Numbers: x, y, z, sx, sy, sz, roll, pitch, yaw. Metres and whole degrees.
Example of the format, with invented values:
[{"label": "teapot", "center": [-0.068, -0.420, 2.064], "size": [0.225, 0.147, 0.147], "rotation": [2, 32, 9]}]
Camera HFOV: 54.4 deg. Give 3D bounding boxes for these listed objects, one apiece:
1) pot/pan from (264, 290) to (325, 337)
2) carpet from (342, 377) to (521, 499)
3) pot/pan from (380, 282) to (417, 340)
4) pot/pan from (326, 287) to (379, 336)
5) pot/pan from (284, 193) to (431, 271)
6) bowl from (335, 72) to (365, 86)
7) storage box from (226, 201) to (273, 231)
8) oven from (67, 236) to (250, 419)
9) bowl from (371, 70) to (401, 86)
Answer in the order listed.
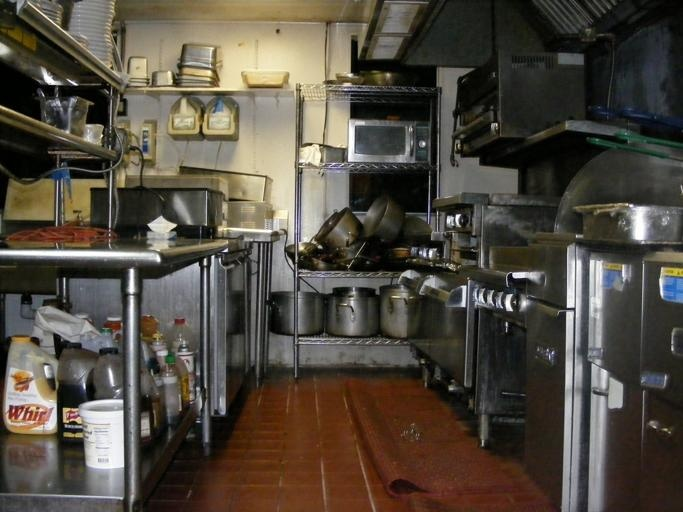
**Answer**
[{"label": "pot/pan", "center": [-0.297, 0.398, 4.605], "size": [0.301, 0.247, 0.320], "rotation": [1, -1, -16]}, {"label": "carpet", "center": [0.406, 0.942, 3.618], "size": [0.634, 0.060, 1.447], "rotation": [-1, 7, -9]}, {"label": "pot/pan", "center": [0.368, 0.371, 4.463], "size": [0.265, 0.355, 0.448], "rotation": [1, 1, -2]}, {"label": "pot/pan", "center": [0.085, 0.378, 4.520], "size": [0.274, 0.310, 0.456], "rotation": [1, 4, -1]}, {"label": "pot/pan", "center": [0.149, -0.129, 4.474], "size": [0.725, 0.315, 0.543], "rotation": [-4, 4, -22]}, {"label": "bowl", "center": [0.057, -1.215, 4.542], "size": [0.189, 0.103, 0.183], "rotation": [0, 6, 0]}, {"label": "storage box", "center": [-0.645, -0.327, 4.585], "size": [0.296, 0.217, 0.174], "rotation": [1, 9, -5]}, {"label": "oven", "center": [-0.763, 0.266, 3.457], "size": [1.064, 1.069, 0.796], "rotation": [0, 0, 1]}, {"label": "bowl", "center": [0.292, -1.213, 4.520], "size": [0.120, 0.078, 0.124], "rotation": [0, 7, 0]}]
